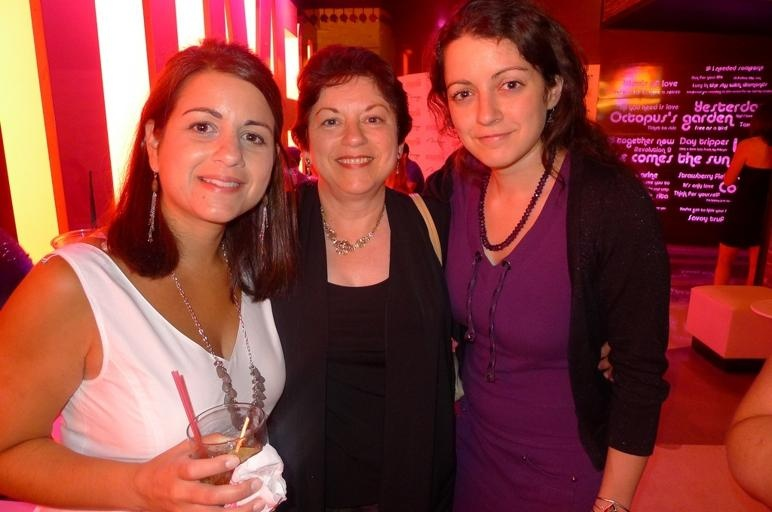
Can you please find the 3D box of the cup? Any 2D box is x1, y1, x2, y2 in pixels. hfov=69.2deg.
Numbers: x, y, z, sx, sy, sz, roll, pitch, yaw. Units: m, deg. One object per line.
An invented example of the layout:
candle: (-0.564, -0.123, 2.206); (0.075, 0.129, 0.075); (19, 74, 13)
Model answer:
cup: (-0.649, 0.777, 2.311); (0.237, 0.280, 0.279); (12, 15, 43)

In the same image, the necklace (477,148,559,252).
necklace: (0.658, -0.223, 2.855); (0.037, 0.514, 0.365); (24, -13, -35)
